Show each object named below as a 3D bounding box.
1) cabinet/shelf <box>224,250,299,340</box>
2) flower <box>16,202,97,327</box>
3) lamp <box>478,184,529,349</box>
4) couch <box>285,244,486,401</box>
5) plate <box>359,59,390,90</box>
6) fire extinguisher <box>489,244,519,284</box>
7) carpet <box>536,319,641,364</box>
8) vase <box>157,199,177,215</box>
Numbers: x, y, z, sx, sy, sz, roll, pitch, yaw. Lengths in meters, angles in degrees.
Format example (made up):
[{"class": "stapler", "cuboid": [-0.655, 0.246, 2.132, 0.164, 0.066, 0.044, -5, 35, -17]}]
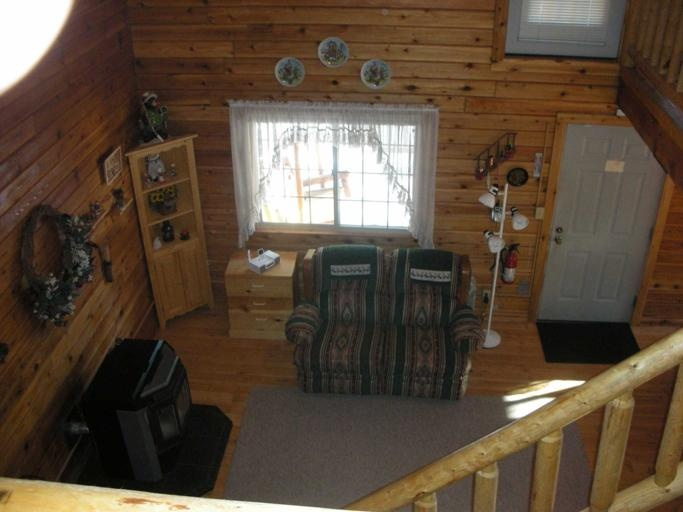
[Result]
[{"class": "cabinet/shelf", "cuboid": [-0.884, 0.412, 6.397, 0.735, 0.819, 0.657, 1, 29, -1]}, {"class": "flower", "cuboid": [-2.191, 0.060, 4.343, 0.295, 0.932, 0.824, 0, 11, -6]}, {"class": "lamp", "cuboid": [1.635, 0.070, 5.950, 0.601, 1.724, 0.382, 3, 14, -7]}, {"class": "couch", "cuboid": [0.459, 0.657, 5.689, 1.906, 1.237, 1.093, 4, 29, 8]}, {"class": "plate", "cuboid": [0.339, -1.805, 5.562, 0.299, 0.270, 0.083, 1, 11, 1]}, {"class": "fire extinguisher", "cuboid": [1.763, 0.068, 6.047, 0.256, 0.469, 0.159, -2, 43, 4]}, {"class": "carpet", "cuboid": [2.718, 0.948, 6.165, 1.053, 0.296, 0.722, 3, 11, 10]}, {"class": "vase", "cuboid": [-1.885, -0.523, 5.998, 0.072, 0.127, 0.133, 16, 28, 30]}]
